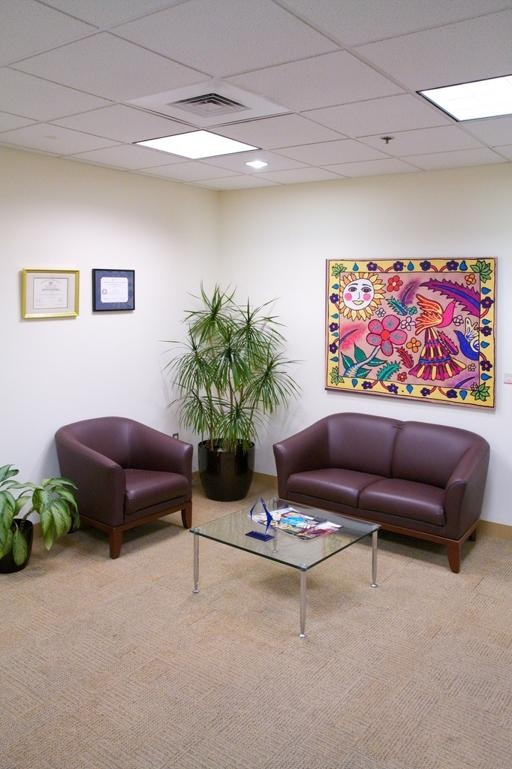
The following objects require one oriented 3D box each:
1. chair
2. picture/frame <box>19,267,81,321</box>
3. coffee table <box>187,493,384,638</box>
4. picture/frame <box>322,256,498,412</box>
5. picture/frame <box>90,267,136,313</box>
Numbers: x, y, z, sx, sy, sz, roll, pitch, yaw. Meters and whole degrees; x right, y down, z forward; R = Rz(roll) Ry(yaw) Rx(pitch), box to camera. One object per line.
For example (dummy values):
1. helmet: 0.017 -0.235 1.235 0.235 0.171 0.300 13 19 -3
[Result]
1. chair: -0.954 0.637 4.171 0.903 0.944 0.974 1 2 39
2. picture/frame: -1.510 -0.658 3.958 0.032 0.342 0.411 6 9 34
3. coffee table: 0.184 0.999 3.313 0.936 0.461 0.968 5 6 40
4. picture/frame: 1.259 -0.413 4.293 1.266 0.966 0.028 4 6 38
5. picture/frame: -1.179 -0.770 4.438 0.032 0.338 0.403 3 6 34
